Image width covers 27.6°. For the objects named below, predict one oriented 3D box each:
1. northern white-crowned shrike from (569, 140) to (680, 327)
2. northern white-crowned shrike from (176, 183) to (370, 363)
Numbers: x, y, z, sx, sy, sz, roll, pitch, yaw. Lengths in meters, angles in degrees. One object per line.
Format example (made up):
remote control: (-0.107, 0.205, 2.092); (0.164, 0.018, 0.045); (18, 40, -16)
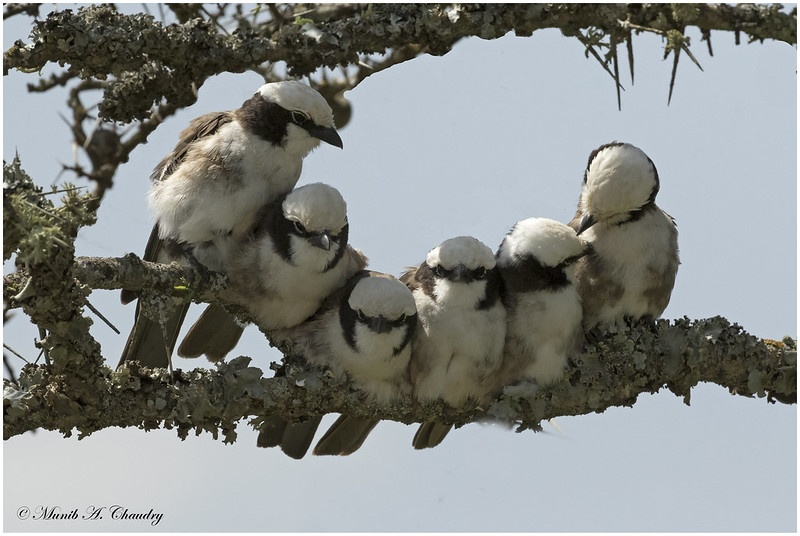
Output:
northern white-crowned shrike: (1.502, -0.216, 10.868); (0.733, 1.099, 0.681); (1, 32, 5)
northern white-crowned shrike: (-0.818, -0.017, 10.586); (0.612, 1.025, 0.649); (36, 47, -20)
